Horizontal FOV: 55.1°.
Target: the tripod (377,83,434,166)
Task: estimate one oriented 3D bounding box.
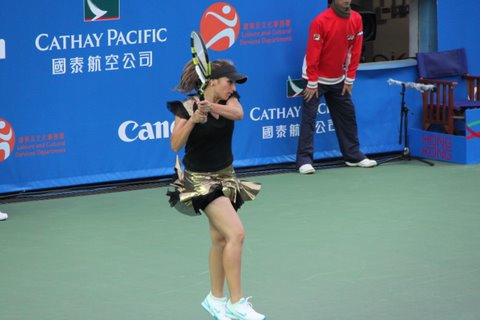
[{"bbox_3d":[2.953,-0.669,8.072,0.706,1.387,0.960,9,18,32],"label":"tripod"}]

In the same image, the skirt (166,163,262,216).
[{"bbox_3d":[-0.208,0.273,3.823,0.782,0.462,0.339,-4,15,-11],"label":"skirt"}]

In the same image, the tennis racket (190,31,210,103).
[{"bbox_3d":[-0.292,-0.704,3.459,0.125,0.511,0.241,-3,15,-8],"label":"tennis racket"}]

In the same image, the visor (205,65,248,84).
[{"bbox_3d":[-0.070,-0.681,3.693,0.231,0.100,0.150,-1,5,11],"label":"visor"}]

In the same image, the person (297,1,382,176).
[{"bbox_3d":[1.526,-1.198,7.601,1.229,2.728,0.520,-5,15,-16],"label":"person"}]

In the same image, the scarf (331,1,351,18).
[{"bbox_3d":[1.612,-2.353,7.292,0.230,0.144,0.279,-2,43,-18],"label":"scarf"}]
